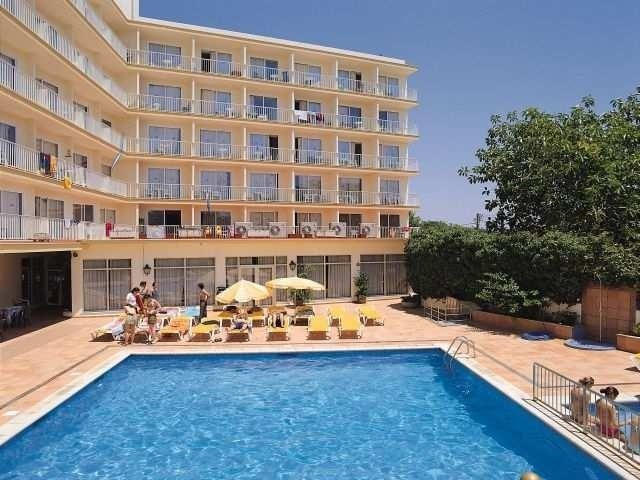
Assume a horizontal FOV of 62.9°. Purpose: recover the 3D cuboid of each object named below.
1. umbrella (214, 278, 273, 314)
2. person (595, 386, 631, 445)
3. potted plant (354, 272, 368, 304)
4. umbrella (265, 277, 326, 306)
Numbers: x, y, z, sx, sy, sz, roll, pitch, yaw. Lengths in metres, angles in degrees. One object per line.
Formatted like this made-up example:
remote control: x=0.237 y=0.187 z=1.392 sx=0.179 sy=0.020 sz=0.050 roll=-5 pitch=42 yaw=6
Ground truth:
umbrella: x=-3.896 y=2.653 z=26.896 sx=2.446 sy=1.076 sz=1.439 roll=0 pitch=-5 yaw=-11
person: x=9.135 y=5.458 z=16.555 sx=0.974 sy=1.309 sz=1.244 roll=3 pitch=1 yaw=17
potted plant: x=2.989 y=3.405 z=37.141 sx=0.875 sy=2.208 sz=1.094 roll=-1 pitch=-5 yaw=2
umbrella: x=-1.548 y=2.493 z=28.809 sx=2.418 sy=1.437 sz=2.396 roll=-4 pitch=-6 yaw=35
